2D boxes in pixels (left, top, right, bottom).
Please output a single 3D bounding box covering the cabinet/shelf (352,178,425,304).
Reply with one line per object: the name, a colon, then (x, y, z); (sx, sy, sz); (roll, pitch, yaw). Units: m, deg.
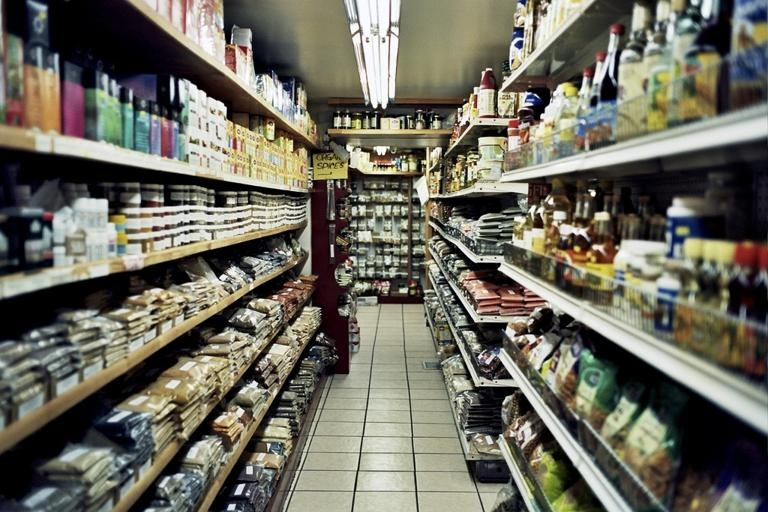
cabinet/shelf: (0.064, -0.341, 9.476); (1.442, 1.584, 1.952); (1, -50, 4)
